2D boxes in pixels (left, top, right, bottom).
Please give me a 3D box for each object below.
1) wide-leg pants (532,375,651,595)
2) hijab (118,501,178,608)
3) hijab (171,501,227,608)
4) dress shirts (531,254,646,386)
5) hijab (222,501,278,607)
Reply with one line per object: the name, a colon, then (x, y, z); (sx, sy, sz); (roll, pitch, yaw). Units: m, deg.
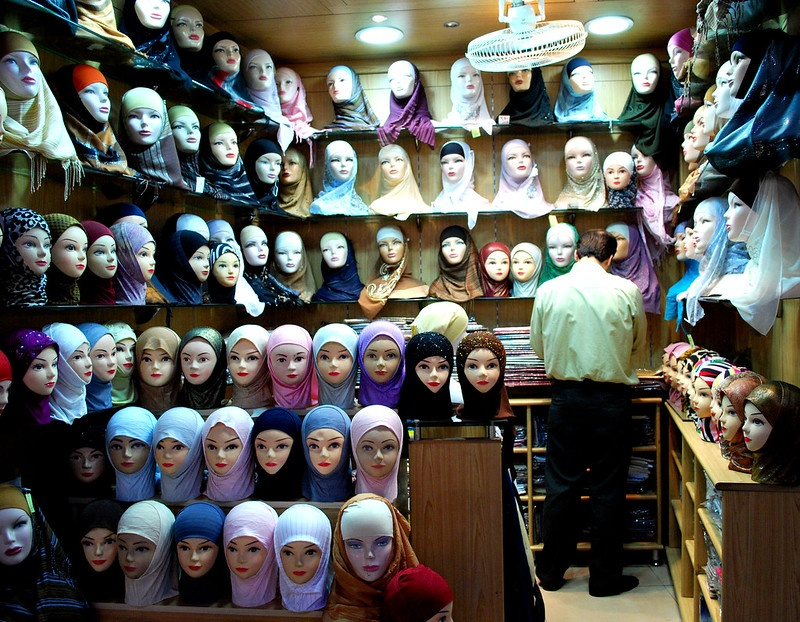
wide-leg pants: (1.133, 1.001, 4.440); (0.527, 1.379, 0.385); (0, 16, 12)
hijab: (-1.208, 1.132, 3.456); (0.243, 0.494, 0.285); (-5, -8, 38)
hijab: (-0.941, 1.128, 3.467); (0.274, 0.466, 0.262); (8, -13, -44)
dress shirts: (1.147, 0.045, 4.430); (0.646, 0.846, 0.466); (-1, 17, 18)
hijab: (-0.680, 1.124, 3.343); (0.226, 0.460, 0.110); (1, -1, -15)
